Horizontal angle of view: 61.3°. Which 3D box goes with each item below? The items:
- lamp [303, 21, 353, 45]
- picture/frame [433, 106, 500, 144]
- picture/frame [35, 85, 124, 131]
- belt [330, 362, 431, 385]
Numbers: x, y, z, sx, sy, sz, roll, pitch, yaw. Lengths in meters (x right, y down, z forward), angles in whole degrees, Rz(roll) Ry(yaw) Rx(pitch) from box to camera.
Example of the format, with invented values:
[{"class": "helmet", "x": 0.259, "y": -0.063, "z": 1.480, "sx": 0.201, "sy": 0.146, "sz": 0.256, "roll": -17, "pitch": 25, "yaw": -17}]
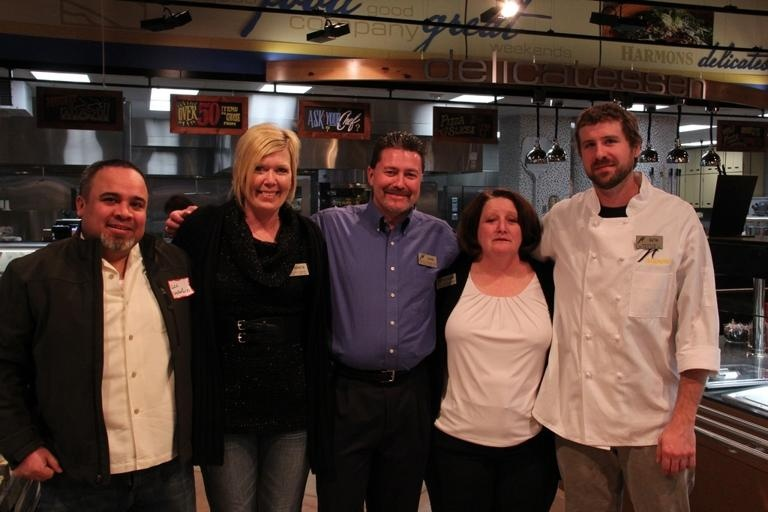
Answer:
[{"class": "lamp", "x": -0.626, "y": -2.416, "z": 6.860, "sx": 0.368, "sy": 0.256, "sz": 0.487, "roll": -4, "pitch": 7, "yaw": -21}, {"class": "picture/frame", "x": 1.097, "y": -1.780, "z": 8.869, "sx": 0.770, "sy": 0.383, "sz": 0.076, "roll": -1, "pitch": 6, "yaw": -18}, {"class": "picture/frame", "x": -3.514, "y": -1.704, "z": 7.518, "sx": 0.913, "sy": 0.471, "sz": 0.231, "roll": -4, "pitch": 8, "yaw": -24}, {"class": "belt", "x": -0.019, "y": 0.684, "z": 3.776, "sx": 0.551, "sy": 0.118, "sz": 0.130, "roll": -2, "pitch": 7, "yaw": -8}]
